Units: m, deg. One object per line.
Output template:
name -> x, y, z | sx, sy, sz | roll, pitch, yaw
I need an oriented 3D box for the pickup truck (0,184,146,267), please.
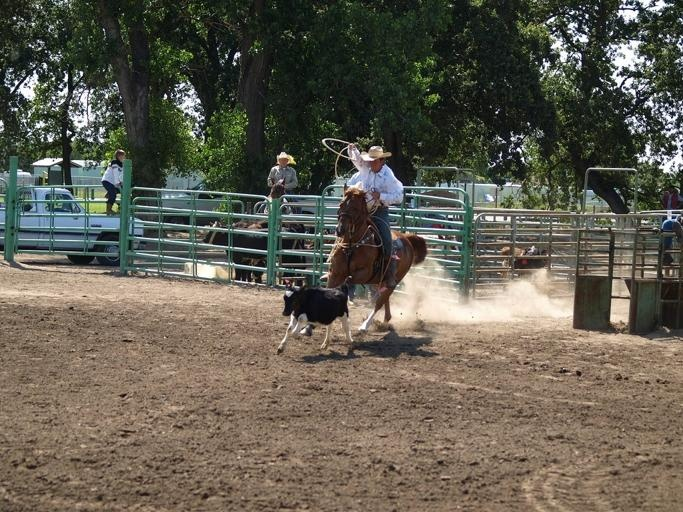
pickup truck -> -6.419, -0.685, 22.205 | 3.551, 1.618, 1.846 | 0, 1, -7

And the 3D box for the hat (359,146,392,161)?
hat -> 0.593, -1.603, 14.740 | 0.362, 0.164, 0.393 | 4, 13, 35

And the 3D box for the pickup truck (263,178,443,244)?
pickup truck -> 0.384, -0.600, 18.595 | 3.422, 1.103, 1.700 | 0, 6, -11

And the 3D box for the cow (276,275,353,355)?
cow -> -0.348, 0.836, 13.443 | 1.177, 0.981, 0.351 | -6, 14, -32

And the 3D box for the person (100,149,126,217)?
person -> -5.258, -1.726, 21.884 | 0.515, 1.451, 0.474 | 4, -3, -32
